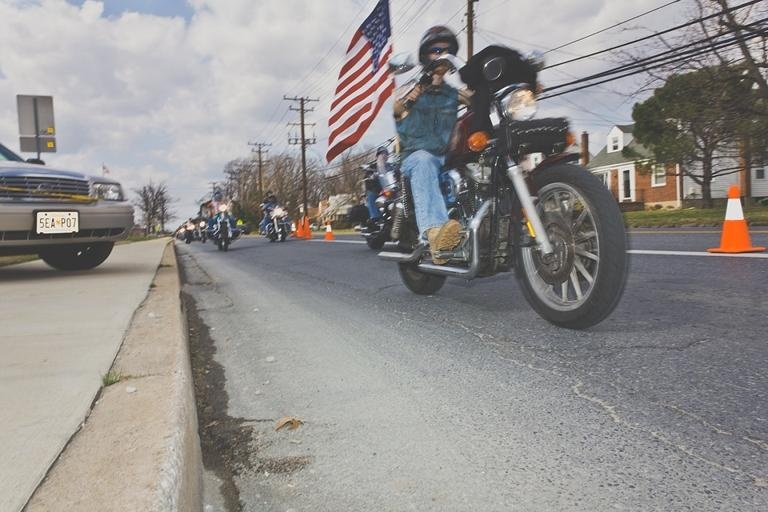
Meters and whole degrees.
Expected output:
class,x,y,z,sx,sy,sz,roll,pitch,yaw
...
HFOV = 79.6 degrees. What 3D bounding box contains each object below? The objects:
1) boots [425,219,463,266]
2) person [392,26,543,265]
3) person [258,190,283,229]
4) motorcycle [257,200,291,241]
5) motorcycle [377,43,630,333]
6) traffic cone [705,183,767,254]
class,x,y,z,sx,sy,sz,roll,pitch,yaw
boots,0.484,-0.116,3.793,0.174,0.431,0.207,17,33,-14
person,0.761,-0.955,4.247,1.035,1.321,2.016,-1,5,-23
person,-4.538,-1.773,18.753,0.975,1.063,1.624,3,-7,-28
motorcycle,-4.234,-1.310,18.069,1.218,1.517,0.594,5,13,40
motorcycle,1.100,-0.515,4.252,1.175,1.637,2.769,-3,2,-29
traffic cone,5.170,-0.545,6.697,0.570,0.898,0.857,6,13,43
